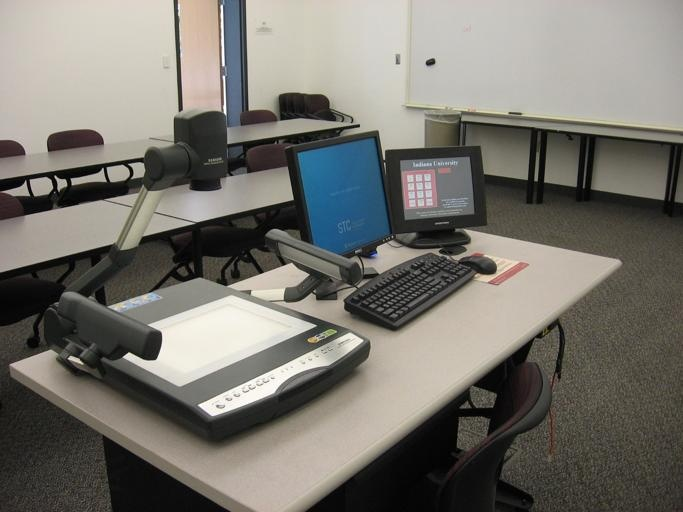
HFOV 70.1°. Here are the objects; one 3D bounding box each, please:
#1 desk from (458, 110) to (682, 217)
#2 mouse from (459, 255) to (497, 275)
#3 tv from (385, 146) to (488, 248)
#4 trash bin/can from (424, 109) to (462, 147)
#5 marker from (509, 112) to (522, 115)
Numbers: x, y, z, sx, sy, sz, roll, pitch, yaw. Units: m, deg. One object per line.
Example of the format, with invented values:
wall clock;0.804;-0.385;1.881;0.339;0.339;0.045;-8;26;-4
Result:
desk;2.508;-1.078;5.472;2.198;1.012;0.729;11;24;33
mouse;0.512;0.012;1.799;0.111;0.039;0.071;22;32;37
tv;0.382;-0.244;2.014;0.328;0.336;0.188;-7;13;-14
trash bin/can;1.293;-1.602;6.196;0.409;0.448;0.414;-7;27;-20
marker;2.039;-1.675;5.725;0.110;0.028;0.079;-1;25;3
